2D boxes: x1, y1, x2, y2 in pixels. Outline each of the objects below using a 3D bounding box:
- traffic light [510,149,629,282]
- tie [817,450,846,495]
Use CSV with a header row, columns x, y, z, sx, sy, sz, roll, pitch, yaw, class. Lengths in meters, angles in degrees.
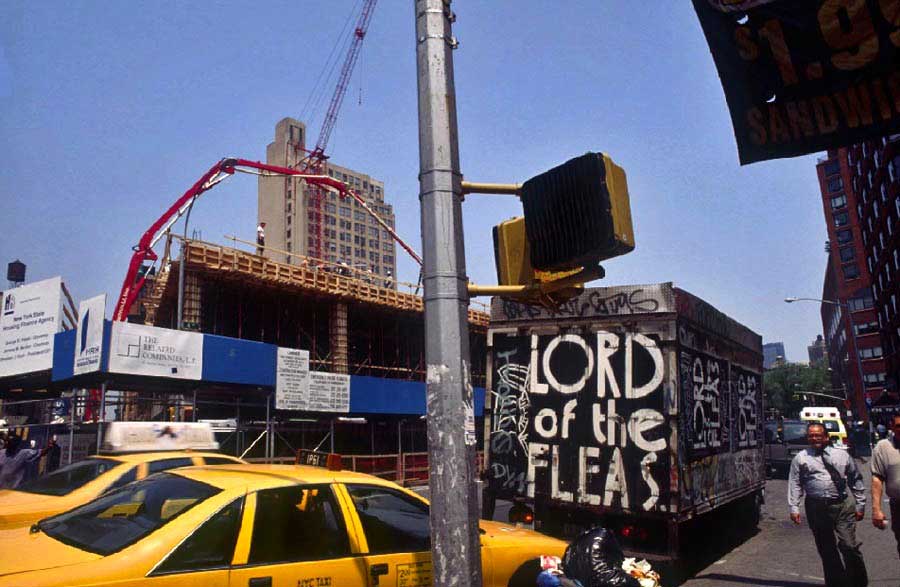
x,y,z,sx,sy,sz,roll,pitch,yaw,class
1.130,-0.680,6.217,1.063,1.077,0.590,-11,-6,42,traffic light
5.617,2.644,10.014,0.191,0.762,0.216,-11,-16,-21,tie
